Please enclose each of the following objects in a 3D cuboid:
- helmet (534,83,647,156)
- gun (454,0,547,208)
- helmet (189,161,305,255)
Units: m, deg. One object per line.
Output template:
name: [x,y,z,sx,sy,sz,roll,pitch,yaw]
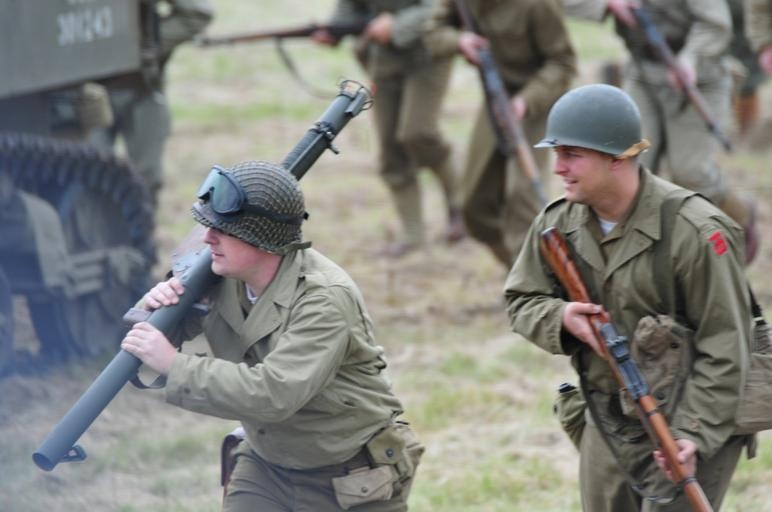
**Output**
helmet: [1.260,-0.799,9.746,0.549,0.298,0.444,2,2,-24]
gun: [0.941,-1.211,12.755,0.133,1.792,0.349,-37,27,-31]
helmet: [-0.804,-0.280,9.656,0.605,0.377,0.542,16,11,-30]
